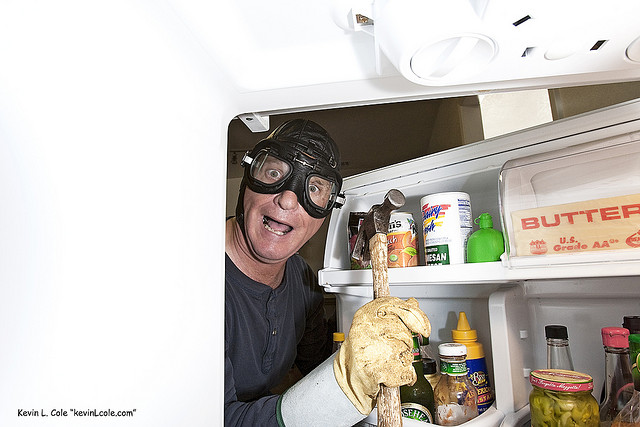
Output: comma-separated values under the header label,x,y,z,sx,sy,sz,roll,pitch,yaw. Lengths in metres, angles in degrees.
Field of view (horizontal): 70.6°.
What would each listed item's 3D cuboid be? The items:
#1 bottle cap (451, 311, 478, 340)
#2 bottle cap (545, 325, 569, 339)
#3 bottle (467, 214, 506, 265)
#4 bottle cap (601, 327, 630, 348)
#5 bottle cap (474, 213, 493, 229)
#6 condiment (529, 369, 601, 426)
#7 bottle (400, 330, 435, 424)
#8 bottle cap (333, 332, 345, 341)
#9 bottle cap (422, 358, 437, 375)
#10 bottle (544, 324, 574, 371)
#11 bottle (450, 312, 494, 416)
label,x,y,z,sx,sy,sz,roll,pitch,yaw
bottle cap,0.345,0.272,1.091,0.060,0.065,0.060,-11,-13,32
bottle cap,0.497,0.248,0.948,0.033,0.021,0.032,3,-9,-31
bottle,0.381,0.060,1.033,0.083,0.120,0.081,0,-17,0
bottle cap,0.567,0.239,0.869,0.037,0.025,0.036,2,-3,-38
bottle cap,0.383,0.015,1.047,0.044,0.043,0.027,-1,-6,25
condiment,0.451,0.342,0.843,0.111,0.115,0.112,-4,-5,35
bottle,0.221,0.372,1.100,0.120,0.216,0.114,0,-5,0
bottle cap,0.050,0.330,1.207,0.023,0.014,0.023,1,-3,2
bottle cap,0.264,0.367,1.085,0.032,0.023,0.032,-2,0,1
bottle,0.504,0.285,0.958,0.047,0.091,0.053,-6,-13,24
bottle,0.350,0.353,1.080,0.078,0.228,0.095,1,3,0
